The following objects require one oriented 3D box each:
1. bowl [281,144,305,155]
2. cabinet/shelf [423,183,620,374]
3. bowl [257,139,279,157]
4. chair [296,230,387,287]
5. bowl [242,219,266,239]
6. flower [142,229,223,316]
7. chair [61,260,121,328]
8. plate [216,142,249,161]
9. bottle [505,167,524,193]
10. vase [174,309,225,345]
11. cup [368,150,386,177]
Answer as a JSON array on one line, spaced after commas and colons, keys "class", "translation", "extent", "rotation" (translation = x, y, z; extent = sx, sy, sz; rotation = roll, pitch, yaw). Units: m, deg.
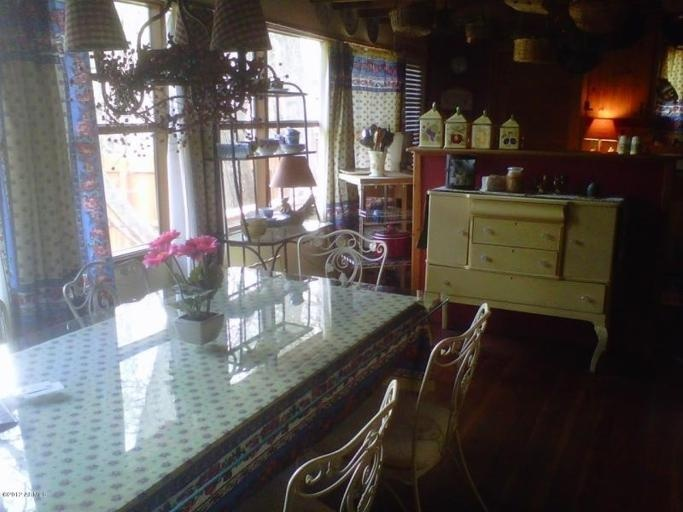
[{"class": "bowl", "translation": [-0.387, -0.858, 4.413], "extent": [0.189, 0.084, 0.111], "rotation": [-1, 13, -7]}, {"class": "cabinet/shelf", "translation": [1.304, 0.123, 3.876], "extent": [1.192, 1.141, 0.517], "rotation": [4, 9, 29]}, {"class": "bowl", "translation": [-0.564, -0.844, 4.266], "extent": [0.079, 0.121, 0.245], "rotation": [7, 15, 30]}, {"class": "chair", "translation": [0.021, 0.012, 4.429], "extent": [0.436, 0.463, 0.248], "rotation": [11, 14, 38]}, {"class": "bowl", "translation": [-0.679, -0.223, 4.363], "extent": [0.185, 0.167, 0.212], "rotation": [-2, 13, -8]}, {"class": "flower", "translation": [-0.847, 0.103, 2.893], "extent": [0.331, 0.415, 0.382], "rotation": [6, 16, 32]}, {"class": "chair", "translation": [-1.513, 0.227, 3.287], "extent": [0.287, 0.440, 0.275], "rotation": [12, 19, 31]}, {"class": "plate", "translation": [-0.781, -0.784, 4.090], "extent": [0.226, 0.126, 0.282], "rotation": [-6, 14, -26]}, {"class": "bottle", "translation": [1.267, -0.565, 4.050], "extent": [0.154, 0.274, 0.167], "rotation": [-1, 8, 0]}, {"class": "vase", "translation": [-0.617, 0.309, 2.395], "extent": [0.142, 0.110, 0.159], "rotation": [-2, -5, 1]}, {"class": "cup", "translation": [0.326, -0.843, 4.980], "extent": [0.146, 0.232, 0.182], "rotation": [1, 13, 4]}]
